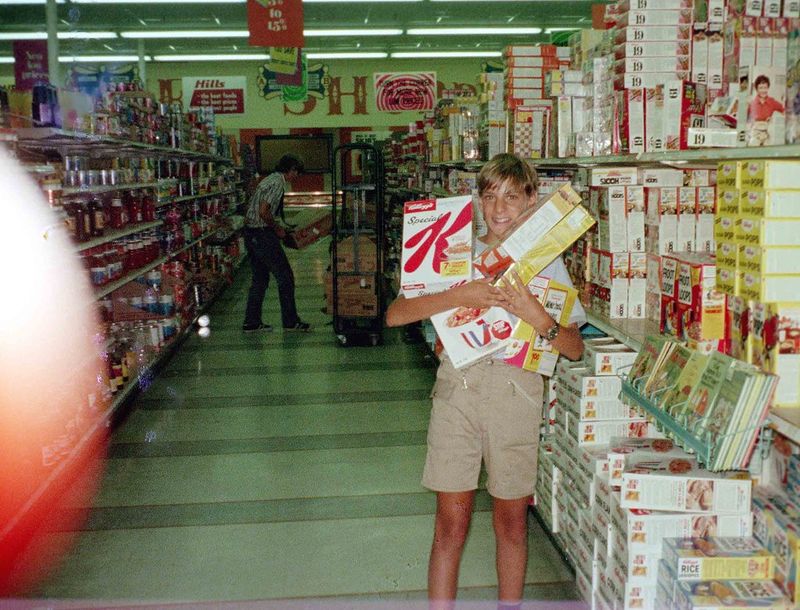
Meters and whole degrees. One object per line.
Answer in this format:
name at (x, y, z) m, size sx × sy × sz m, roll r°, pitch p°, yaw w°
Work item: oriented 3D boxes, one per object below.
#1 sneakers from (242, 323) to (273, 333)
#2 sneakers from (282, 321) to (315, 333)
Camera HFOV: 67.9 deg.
sneakers at (-1.887, 0.283, 7.832) m, size 0.376 × 0.131 × 0.127 m, roll -3°, pitch 9°, yaw -21°
sneakers at (-1.332, 0.281, 7.811) m, size 0.390 × 0.134 × 0.139 m, roll -2°, pitch 15°, yaw -7°
